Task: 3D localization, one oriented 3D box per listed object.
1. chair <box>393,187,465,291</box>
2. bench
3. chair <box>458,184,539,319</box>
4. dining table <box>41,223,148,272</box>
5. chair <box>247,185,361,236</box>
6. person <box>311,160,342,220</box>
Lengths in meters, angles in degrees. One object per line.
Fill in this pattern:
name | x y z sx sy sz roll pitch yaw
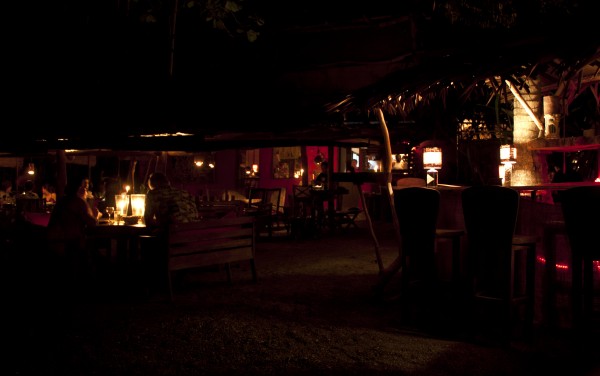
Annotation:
chair | 1.869 0.711 7.168 0.905 1.458 0.545 -3 11 -9
bench | -1.750 0.913 9.085 2.028 1.375 1.233 -4 6 -31
chair | 2.655 1.038 6.889 0.828 2.021 0.879 -5 -9 25
dining table | -3.534 0.950 9.067 1.425 0.650 0.893 0 -4 3
chair | 0.055 0.736 15.808 3.041 2.002 4.018 -1 10 -2
person | 0.830 0.080 15.739 1.277 1.657 0.942 -6 -15 19
